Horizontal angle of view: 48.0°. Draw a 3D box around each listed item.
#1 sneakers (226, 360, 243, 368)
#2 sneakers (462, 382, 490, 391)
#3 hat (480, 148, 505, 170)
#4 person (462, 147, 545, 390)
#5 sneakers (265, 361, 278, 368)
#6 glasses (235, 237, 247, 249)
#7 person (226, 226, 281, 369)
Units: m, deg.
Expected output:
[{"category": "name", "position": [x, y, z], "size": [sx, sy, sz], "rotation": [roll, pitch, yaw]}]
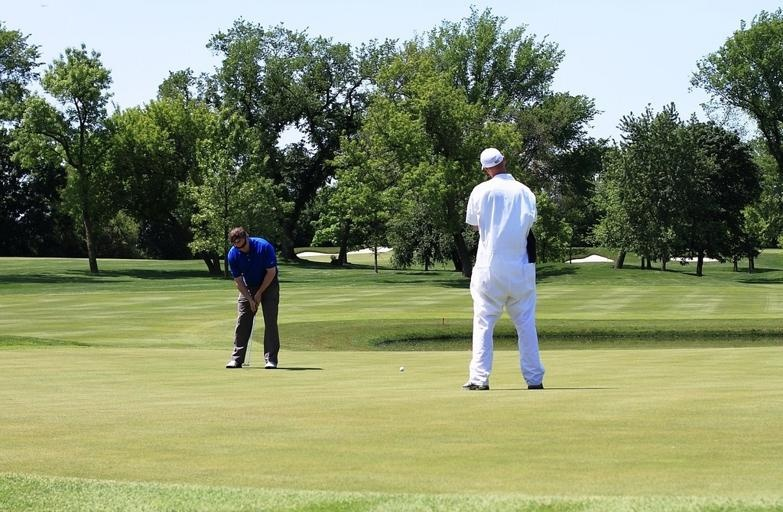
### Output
[{"category": "sneakers", "position": [-2.301, 1.572, 12.796], "size": [0.099, 0.087, 0.212], "rotation": [-1, -8, 16]}, {"category": "sneakers", "position": [1.009, 1.513, 10.265], "size": [0.292, 0.122, 0.103], "rotation": [5, -1, 2]}, {"category": "hat", "position": [1.237, -1.240, 10.824], "size": [0.315, 0.233, 0.415], "rotation": [-6, 11, 5]}, {"category": "person", "position": [1.380, 0.117, 10.594], "size": [0.958, 1.983, 0.969], "rotation": [1, 0, 8]}, {"category": "sneakers", "position": [-1.741, 1.579, 12.792], "size": [0.168, 0.066, 0.242], "rotation": [1, 0, -14]}, {"category": "glasses", "position": [-2.173, -0.196, 12.724], "size": [0.120, 0.158, 0.124], "rotation": [4, 8, -28]}, {"category": "person", "position": [-2.051, 0.598, 13.118], "size": [0.763, 2.052, 1.242], "rotation": [1, 0, -9]}]
